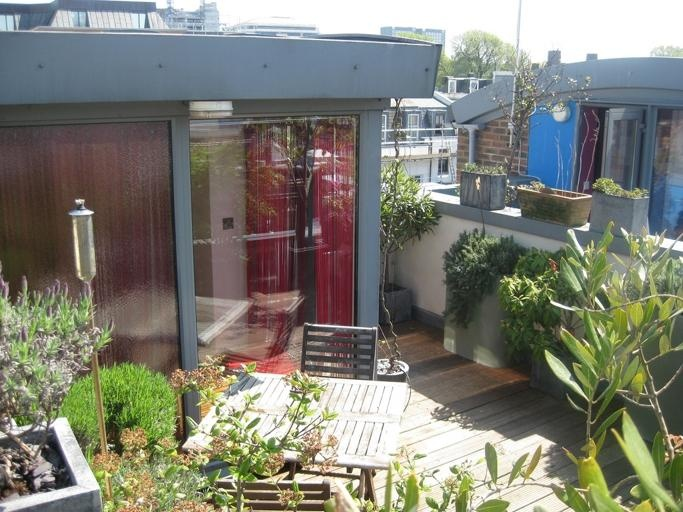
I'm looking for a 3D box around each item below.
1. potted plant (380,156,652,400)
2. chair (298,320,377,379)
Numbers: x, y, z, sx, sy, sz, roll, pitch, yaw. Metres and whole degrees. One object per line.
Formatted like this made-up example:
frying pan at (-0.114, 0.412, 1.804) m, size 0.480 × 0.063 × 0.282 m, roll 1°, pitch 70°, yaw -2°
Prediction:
potted plant at (1.483, 0.034, 6.573) m, size 0.832 × 2.275 × 2.699 m, roll -10°, pitch 13°, yaw -38°
chair at (0.013, 0.678, 4.302) m, size 0.509 × 0.596 × 0.546 m, roll 3°, pitch 15°, yaw 10°
